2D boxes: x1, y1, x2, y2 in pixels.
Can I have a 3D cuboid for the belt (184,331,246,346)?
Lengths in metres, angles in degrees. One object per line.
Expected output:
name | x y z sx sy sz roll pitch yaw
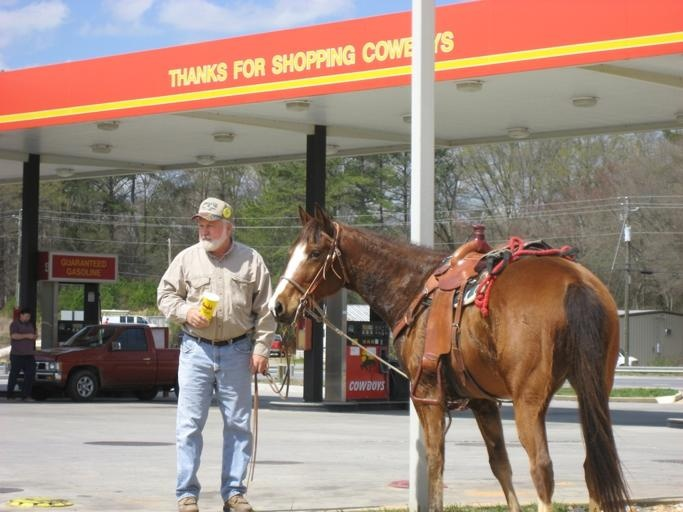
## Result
belt | -1.774 1.151 18.722 0.884 0.202 0.200 -2 -3 -9

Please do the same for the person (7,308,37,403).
person | -7.563 2.285 31.364 0.675 2.156 1.013 -1 -3 -15

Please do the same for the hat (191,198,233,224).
hat | -1.758 -0.659 18.793 0.335 0.231 0.432 1 -14 41

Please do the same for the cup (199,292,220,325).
cup | -1.839 0.695 18.536 0.296 0.405 0.181 -1 -2 -13

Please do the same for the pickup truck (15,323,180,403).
pickup truck | -5.810 2.602 32.409 3.314 1.344 1.869 7 -11 -39
